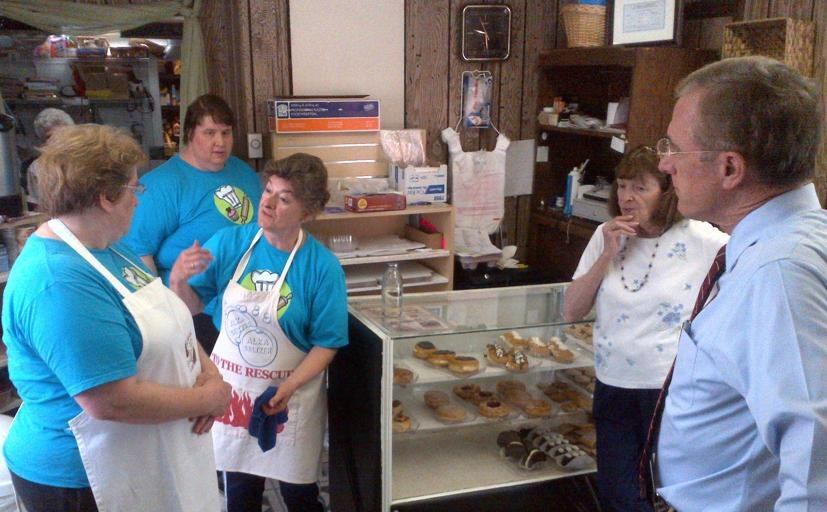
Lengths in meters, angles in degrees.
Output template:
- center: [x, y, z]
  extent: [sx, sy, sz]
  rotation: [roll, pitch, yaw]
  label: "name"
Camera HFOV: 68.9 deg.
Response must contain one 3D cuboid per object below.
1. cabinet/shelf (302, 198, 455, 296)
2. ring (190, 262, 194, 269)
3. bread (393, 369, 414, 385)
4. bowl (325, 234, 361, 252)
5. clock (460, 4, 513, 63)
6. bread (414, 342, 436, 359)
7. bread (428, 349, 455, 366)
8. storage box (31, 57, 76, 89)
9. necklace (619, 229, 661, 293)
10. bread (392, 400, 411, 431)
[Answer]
- center: [-0.167, 0.080, 4.551]
  extent: [1.126, 0.706, 0.571]
  rotation: [-6, 4, 9]
  label: "cabinet/shelf"
- center: [-0.939, 0.041, 2.547]
  extent: [0.016, 0.018, 0.007]
  rotation: [-2, -6, 3]
  label: "ring"
- center: [-0.047, 0.561, 2.825]
  extent: [0.090, 0.019, 0.084]
  rotation: [1, 11, -5]
  label: "bread"
- center: [-0.525, -0.088, 4.493]
  extent: [0.174, 0.112, 0.171]
  rotation: [0, 9, 0]
  label: "bowl"
- center: [0.583, -1.790, 4.840]
  extent: [0.477, 0.424, 0.104]
  rotation: [-3, 13, -16]
  label: "clock"
- center: [0.051, 0.444, 2.865]
  extent: [0.088, 0.054, 0.083]
  rotation: [-1, 3, -20]
  label: "bread"
- center: [0.126, 0.482, 2.869]
  extent: [0.095, 0.044, 0.090]
  rotation: [0, 4, 19]
  label: "bread"
- center: [-2.494, -1.266, 4.187]
  extent: [0.214, 0.146, 0.201]
  rotation: [3, 11, 18]
  label: "storage box"
- center: [1.003, 0.074, 2.714]
  extent: [0.121, 0.205, 0.029]
  rotation: [-20, 38, 14]
  label: "necklace"
- center: [-0.073, 0.768, 2.958]
  extent: [0.113, 0.038, 0.147]
  rotation: [6, 45, -31]
  label: "bread"
